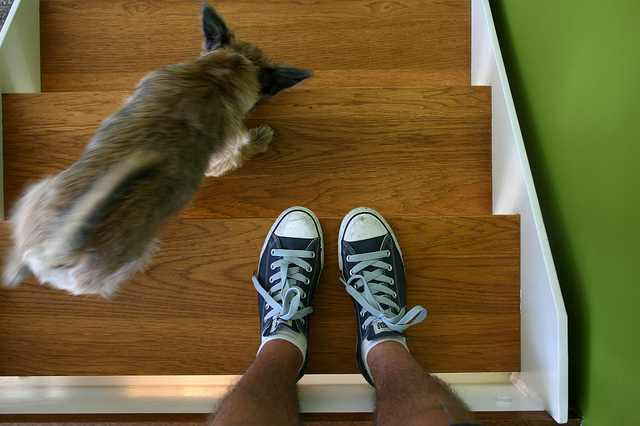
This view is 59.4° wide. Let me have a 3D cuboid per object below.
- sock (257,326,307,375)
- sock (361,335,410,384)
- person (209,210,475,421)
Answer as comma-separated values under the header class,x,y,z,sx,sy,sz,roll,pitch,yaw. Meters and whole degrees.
class,x,y,z,sx,sy,sz,roll,pitch,yaw
sock,-0.144,0.496,2.064,0.118,0.101,0.206,22,64,-7
sock,0.233,0.512,2.013,0.121,0.096,0.190,-8,70,-6
person,0.031,0.314,2.059,0.975,0.626,0.651,1,93,1
